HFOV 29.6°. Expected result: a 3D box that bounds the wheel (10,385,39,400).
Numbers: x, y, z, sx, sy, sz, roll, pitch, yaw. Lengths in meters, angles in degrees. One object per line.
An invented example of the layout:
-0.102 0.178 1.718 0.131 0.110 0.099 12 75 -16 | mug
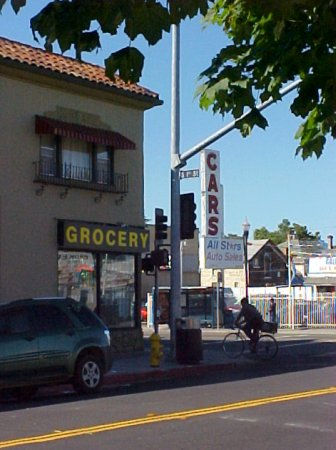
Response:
-2.432 2.802 10.665 0.283 0.282 0.354 2 -17 -11 | wheel

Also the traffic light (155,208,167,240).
-0.196 -0.023 17.627 0.295 0.850 1.069 1 -1 -2 | traffic light

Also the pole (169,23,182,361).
0.197 -0.774 16.644 0.649 6.994 0.403 -2 -3 13 | pole

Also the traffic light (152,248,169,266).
-0.193 0.846 16.836 0.446 0.436 0.616 1 -1 -3 | traffic light

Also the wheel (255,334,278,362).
2.703 3.350 17.369 0.595 0.689 0.611 1 -1 0 | wheel
